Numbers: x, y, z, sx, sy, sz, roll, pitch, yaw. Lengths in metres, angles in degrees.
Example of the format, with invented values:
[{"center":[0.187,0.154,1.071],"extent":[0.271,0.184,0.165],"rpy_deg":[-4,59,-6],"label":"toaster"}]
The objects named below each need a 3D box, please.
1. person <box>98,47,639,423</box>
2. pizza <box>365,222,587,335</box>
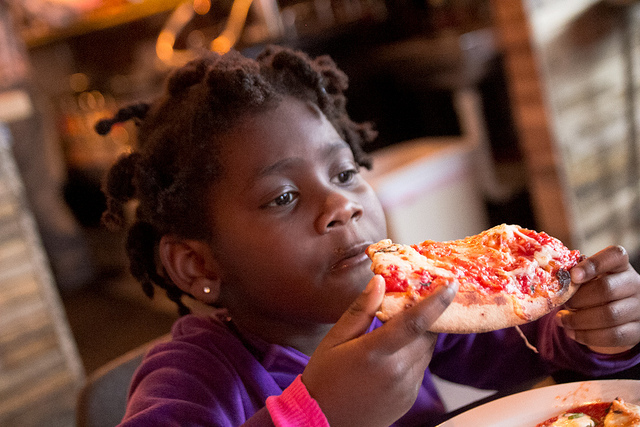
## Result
[{"center":[0.039,0.083,1.657],"extent":[1.267,1.054,0.829],"rpy_deg":[-11,23,-5],"label":"person"},{"center":[0.357,0.152,1.395],"extent":[0.391,0.067,0.282],"rpy_deg":[-3,30,4],"label":"pizza"}]
